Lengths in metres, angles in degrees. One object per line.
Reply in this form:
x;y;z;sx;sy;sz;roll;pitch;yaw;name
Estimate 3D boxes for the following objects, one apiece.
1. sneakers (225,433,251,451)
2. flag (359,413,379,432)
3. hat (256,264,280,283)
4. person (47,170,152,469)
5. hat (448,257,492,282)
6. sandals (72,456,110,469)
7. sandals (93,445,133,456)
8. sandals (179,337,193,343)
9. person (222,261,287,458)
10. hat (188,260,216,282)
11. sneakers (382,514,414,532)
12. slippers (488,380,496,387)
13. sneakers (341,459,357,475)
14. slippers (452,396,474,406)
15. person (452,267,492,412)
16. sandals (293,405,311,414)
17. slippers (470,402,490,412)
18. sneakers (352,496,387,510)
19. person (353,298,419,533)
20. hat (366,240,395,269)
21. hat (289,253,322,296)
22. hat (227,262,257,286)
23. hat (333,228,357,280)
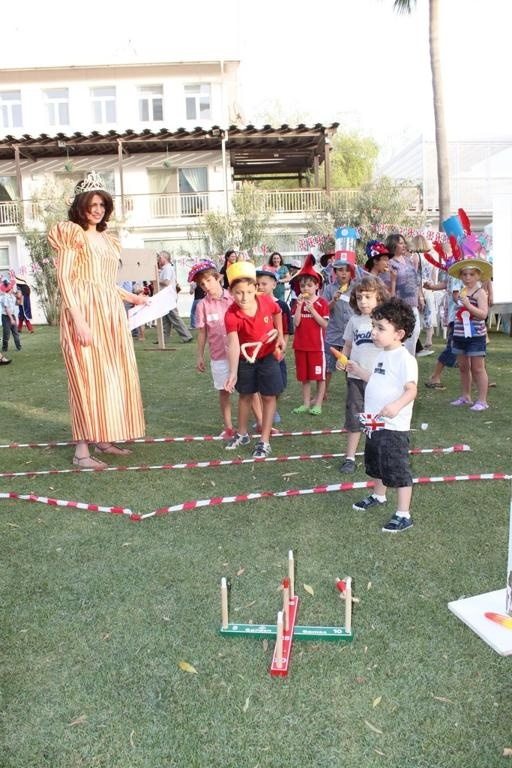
-0.139;0.458;4.646;0.078;0.098;0.234;0;4;29;sneakers
0.561;0.190;2.885;0.093;0.105;0.123;-1;8;10;flag
0.106;-1.022;5.297;0.147;0.088;0.226;-2;-15;33;hat
-1.082;-0.418;4.063;0.566;2.003;0.345;-8;10;-34;person
2.036;-1.112;5.644;0.372;0.204;0.390;0;8;18;hat
-1.183;0.558;4.187;0.277;0.111;0.100;-2;1;19;sandals
-1.096;0.510;4.563;0.280;0.091;0.103;2;13;11;sandals
-1.516;-0.988;13.074;0.321;0.226;0.111;1;5;9;sandals
-0.023;-0.209;4.431;0.473;1.423;0.769;-2;8;3;person
-0.458;-0.974;5.045;0.182;0.175;0.399;-4;8;-13;hat
0.679;0.665;2.841;0.163;0.063;0.062;4;-6;-45;sneakers
2.707;-0.009;6.790;0.061;0.040;0.110;-3;3;26;slippers
0.604;0.542;3.850;0.085;0.095;0.242;-1;-2;13;sneakers
2.034;0.166;5.860;0.173;0.079;0.096;2;-1;-8;slippers
2.043;-0.452;5.671;0.339;1.344;0.598;1;9;21;person
0.436;0.242;5.773;0.144;0.064;0.069;7;-8;-44;sandals
2.099;0.203;5.576;0.153;0.065;0.203;1;9;24;slippers
0.596;0.635;3.168;0.195;0.079;0.069;0;2;-14;sneakers
0.633;0.128;2.985;0.330;1.111;0.549;0;9;13;person
1.141;-1.214;5.604;0.255;0.115;0.284;-18;40;14;hat
0.483;-1.066;5.625;0.434;0.489;0.444;1;7;5;hat
-0.111;-0.788;4.178;0.190;0.164;0.184;-2;8;4;hat
0.860;-1.288;5.643;0.228;0.467;0.735;-1;8;9;hat
